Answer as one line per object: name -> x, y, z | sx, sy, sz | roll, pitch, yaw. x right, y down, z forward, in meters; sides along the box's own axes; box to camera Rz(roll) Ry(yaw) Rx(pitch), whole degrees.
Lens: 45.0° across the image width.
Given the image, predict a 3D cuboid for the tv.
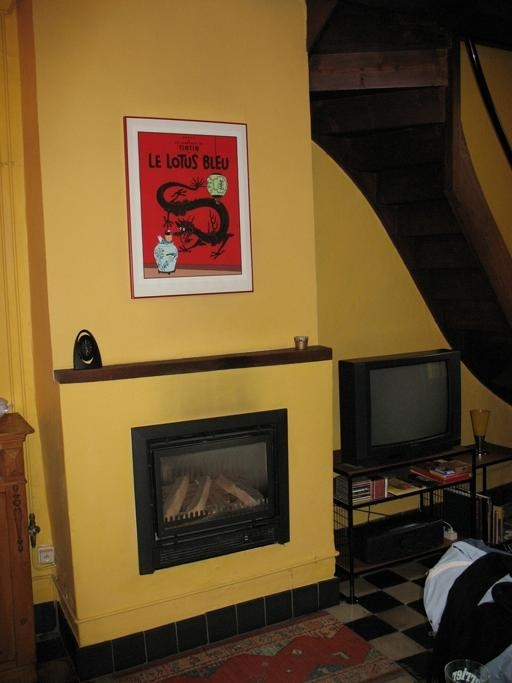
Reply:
tv -> 0.775, 0.347, 3.303 | 0.774, 0.564, 0.179 | -2, 3, -30
